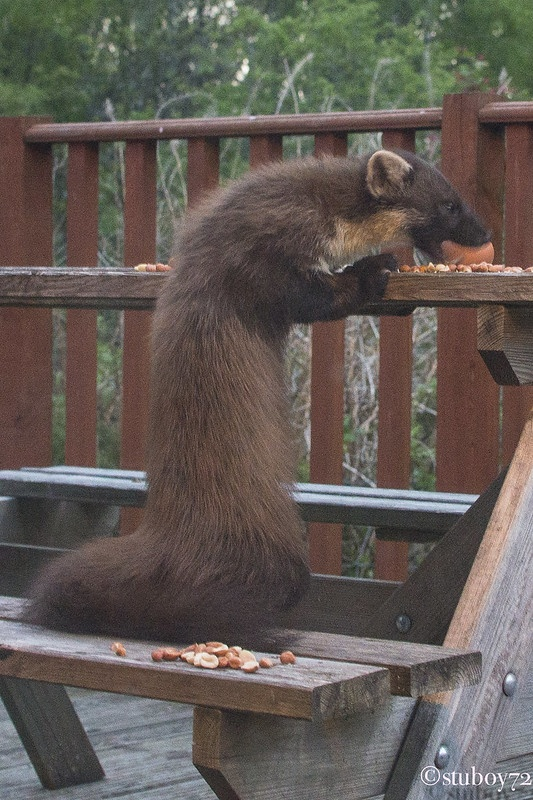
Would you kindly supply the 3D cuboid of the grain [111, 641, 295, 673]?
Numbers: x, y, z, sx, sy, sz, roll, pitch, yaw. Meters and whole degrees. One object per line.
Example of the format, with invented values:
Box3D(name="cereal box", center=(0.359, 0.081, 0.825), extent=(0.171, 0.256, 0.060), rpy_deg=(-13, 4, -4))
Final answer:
Box3D(name="grain", center=(-0.098, 0.479, 3.252), extent=(0.190, 0.049, 0.138), rpy_deg=(1, -9, 9))
